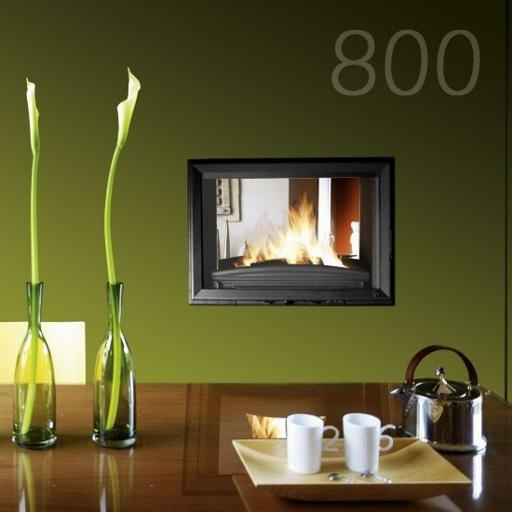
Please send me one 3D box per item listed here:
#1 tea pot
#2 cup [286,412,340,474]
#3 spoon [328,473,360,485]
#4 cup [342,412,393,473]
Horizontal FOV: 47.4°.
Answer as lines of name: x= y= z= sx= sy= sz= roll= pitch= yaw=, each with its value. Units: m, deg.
tea pot: x=0.357 y=0.278 z=1.195 sx=0.189 sy=0.215 sz=0.169 roll=-1 pitch=2 yaw=4
cup: x=0.088 y=0.314 z=0.978 sx=0.070 sy=0.079 sz=0.064 roll=-2 pitch=4 yaw=0
spoon: x=0.138 y=0.356 z=0.933 sx=0.046 sy=0.007 sz=0.044 roll=-1 pitch=4 yaw=8
cup: x=0.182 y=0.307 z=0.971 sx=0.093 sy=0.100 sz=0.064 roll=0 pitch=-6 yaw=-18
